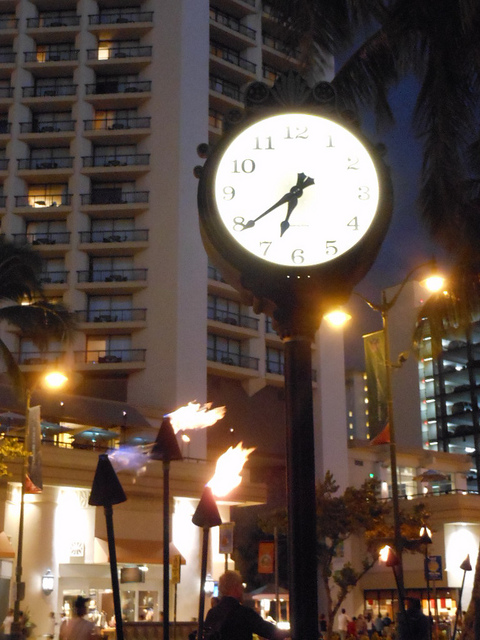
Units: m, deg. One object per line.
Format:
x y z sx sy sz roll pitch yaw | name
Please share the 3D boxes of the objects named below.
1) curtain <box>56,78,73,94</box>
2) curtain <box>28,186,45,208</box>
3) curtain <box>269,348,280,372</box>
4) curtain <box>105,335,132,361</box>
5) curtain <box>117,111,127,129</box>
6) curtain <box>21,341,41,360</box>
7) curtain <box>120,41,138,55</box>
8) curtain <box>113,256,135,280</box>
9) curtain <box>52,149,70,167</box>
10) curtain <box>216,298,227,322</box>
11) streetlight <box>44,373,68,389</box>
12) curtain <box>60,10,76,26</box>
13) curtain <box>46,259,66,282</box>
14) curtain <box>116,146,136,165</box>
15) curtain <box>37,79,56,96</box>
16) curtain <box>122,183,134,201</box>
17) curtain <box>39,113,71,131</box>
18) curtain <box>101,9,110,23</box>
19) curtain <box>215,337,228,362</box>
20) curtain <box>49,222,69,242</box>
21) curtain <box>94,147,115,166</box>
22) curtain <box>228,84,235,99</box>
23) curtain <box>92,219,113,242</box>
-10.589 -14.132 50.855 1.192 1.146 0.549 4 -4 8 | curtain
-11.910 -7.247 49.156 1.019 1.303 0.846 5 -4 -6 | curtain
2.018 2.472 51.211 0.072 1.145 1.143 -28 -38 27 | curtain
-6.669 1.580 46.556 1.322 1.366 0.060 -5 -23 10 | curtain
-7.073 -12.083 50.662 0.462 1.064 0.767 7 -4 -34 | curtain
-11.580 1.672 46.256 1.175 1.019 0.945 4 -4 -1 | curtain
-6.769 -16.630 51.589 1.212 1.147 0.295 0 -2 9 | curtain
-6.577 -2.891 47.802 1.327 1.550 0.158 -4 -24 7 | curtain
-10.573 -9.603 49.803 1.103 1.047 0.259 1 -5 5 | curtain
-1.133 -0.565 49.412 0.066 1.697 1.235 -10 -13 40 | curtain
-4.867 1.573 22.219 0.499 0.351 0.907 5 -3 -11 | streetlight
-10.614 -18.667 52.024 1.191 1.131 0.285 2 -3 9 | curtain
-10.407 -2.828 47.626 1.221 1.301 0.691 4 -4 0 | curtain
-6.736 -9.728 49.972 1.464 1.504 0.073 0 -31 -2 | curtain
-11.715 -14.036 50.956 1.203 1.142 0.286 0 -4 -1 | curtain
-6.597 -7.524 49.432 0.790 1.123 0.412 4 -4 9 | curtain
-11.081 -11.831 50.490 1.335 0.950 0.038 0 -12 1 | curtain
-8.344 -18.787 52.142 0.522 1.120 0.650 5 -4 -15 | curtain
-1.131 1.748 48.697 0.100 1.432 1.213 -16 -21 38 | curtain
-10.443 -5.044 48.443 1.360 1.216 0.488 3 -4 22 | curtain
-8.068 -9.702 50.168 1.332 1.247 0.316 1 -5 -9 | curtain
-0.554 -14.617 53.742 0.431 1.092 1.169 4 -4 -1 | curtain
-8.057 -5.235 48.899 1.445 1.365 0.346 0 -13 2 | curtain
